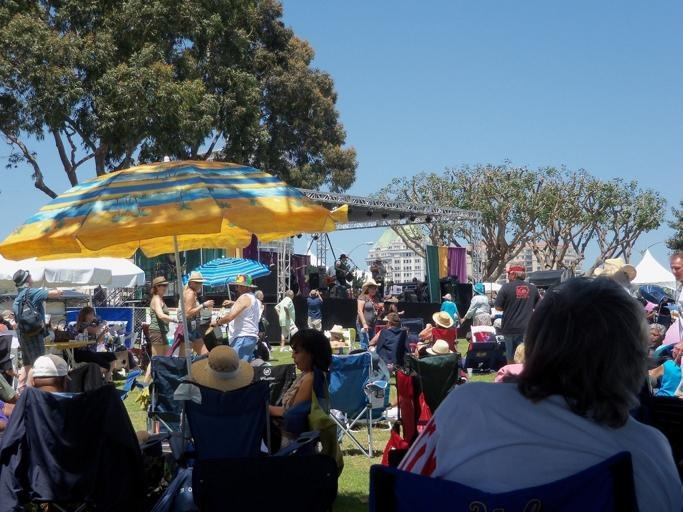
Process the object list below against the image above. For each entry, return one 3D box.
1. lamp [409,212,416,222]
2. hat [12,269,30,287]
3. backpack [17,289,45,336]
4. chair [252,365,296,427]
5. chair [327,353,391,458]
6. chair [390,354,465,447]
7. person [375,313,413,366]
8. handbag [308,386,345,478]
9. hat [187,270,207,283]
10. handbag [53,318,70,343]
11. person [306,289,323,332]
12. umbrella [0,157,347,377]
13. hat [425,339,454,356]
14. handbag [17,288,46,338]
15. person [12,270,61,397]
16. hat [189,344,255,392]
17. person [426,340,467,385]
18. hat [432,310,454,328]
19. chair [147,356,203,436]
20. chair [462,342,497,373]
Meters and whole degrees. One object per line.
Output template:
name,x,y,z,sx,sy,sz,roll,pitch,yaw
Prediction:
lamp,2.511,-1.399,26.733,0.192,0.211,0.215,2,-1,17
hat,-3.922,0.287,9.132,0.081,0.208,0.171,39,12,-42
backpack,-3.685,0.695,8.797,0.286,0.489,0.254,-15,1,-35
chair,-0.566,1.148,6.419,0.403,0.606,0.450,-1,-15,5
chair,0.175,1.542,7.726,0.835,1.001,0.775,-6,-17,34
chair,0.754,1.285,6.712,0.446,0.762,0.467,-4,-2,-40
person,0.726,1.194,11.127,0.425,0.791,0.471,-14,29,-30
handbag,-0.123,1.160,5.066,0.169,0.596,0.201,-18,-26,-3
hat,-2.027,0.243,10.382,0.243,0.110,0.275,3,-8,-24
handbag,-3.934,1.039,10.456,0.210,0.228,0.107,1,8,-10
person,-0.688,1.399,18.090,0.387,1.347,0.369,4,27,10
umbrella,-1.196,-0.321,5.266,1.786,1.247,1.901,-15,8,-32
hat,1.200,1.172,9.260,0.309,0.134,0.359,6,13,-6
handbag,-3.700,0.684,8.790,0.275,0.493,0.301,-6,9,23
person,-3.679,0.939,8.995,0.440,1.518,0.590,-6,-2,-40
hat,-0.843,0.743,5.380,0.396,0.175,0.464,22,30,16
person,1.192,1.198,8.807,0.516,0.303,0.767,2,-17,10
hat,1.502,0.905,11.408,0.254,0.097,0.282,-5,41,-26
chair,-1.596,1.223,7.155,0.468,0.676,0.493,22,25,31
chair,2.364,1.737,13.007,0.518,0.630,0.527,3,-7,-7
